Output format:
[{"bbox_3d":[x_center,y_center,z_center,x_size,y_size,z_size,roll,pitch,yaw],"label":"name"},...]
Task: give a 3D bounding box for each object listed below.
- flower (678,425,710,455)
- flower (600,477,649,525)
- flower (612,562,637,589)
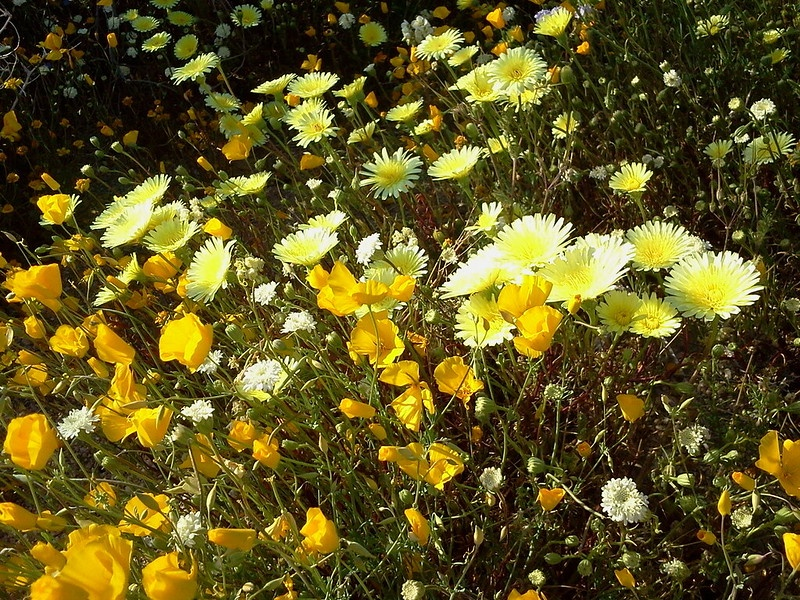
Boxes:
[{"bbox_3d":[0.844,0.420,1.965,0.092,0.045,0.108,3,51,15],"label":"flower"},{"bbox_3d":[0.591,0.531,1.821,0.112,0.053,0.122,23,59,26],"label":"flower"},{"bbox_3d":[0.602,0.753,1.830,0.045,0.192,0.057,-9,52,11],"label":"flower"}]
